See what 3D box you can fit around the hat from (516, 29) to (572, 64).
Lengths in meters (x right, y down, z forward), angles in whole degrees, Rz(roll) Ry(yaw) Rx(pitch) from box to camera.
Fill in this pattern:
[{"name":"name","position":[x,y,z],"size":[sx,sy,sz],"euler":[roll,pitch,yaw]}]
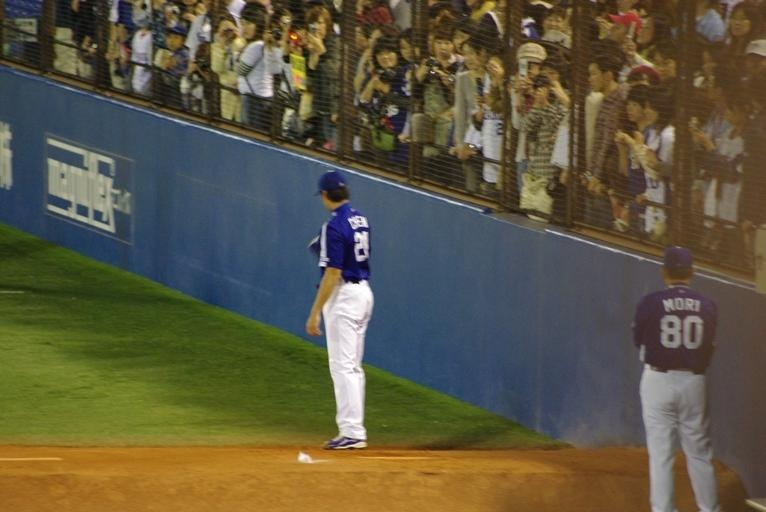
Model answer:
[{"name":"hat","position":[1.666,-2.127,20.243],"size":[0.468,0.186,0.318],"euler":[3,9,11]}]

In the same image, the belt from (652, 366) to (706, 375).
[{"name":"belt","position":[2.768,1.059,18.631],"size":[0.507,0.075,0.069],"euler":[5,0,8]}]

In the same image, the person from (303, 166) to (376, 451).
[{"name":"person","position":[-0.375,0.554,19.791],"size":[0.803,2.774,0.420],"euler":[9,0,-22]}]

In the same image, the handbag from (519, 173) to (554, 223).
[{"name":"handbag","position":[1.604,-0.627,20.648],"size":[0.510,0.425,0.140],"euler":[14,18,41]}]

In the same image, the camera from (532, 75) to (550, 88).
[{"name":"camera","position":[1.620,-1.782,20.304],"size":[0.160,0.112,0.035],"euler":[10,10,20]}]

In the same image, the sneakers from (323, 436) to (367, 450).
[{"name":"sneakers","position":[-0.362,1.848,19.865],"size":[0.450,0.162,0.140],"euler":[2,-1,0]}]

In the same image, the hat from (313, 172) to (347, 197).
[{"name":"hat","position":[-0.532,-0.731,19.866],"size":[0.231,0.135,0.276],"euler":[-9,10,-29]}]

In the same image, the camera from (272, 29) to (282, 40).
[{"name":"camera","position":[-1.179,-2.491,22.320],"size":[0.034,0.122,0.093],"euler":[-8,-28,-41]}]

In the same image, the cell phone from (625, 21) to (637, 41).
[{"name":"cell phone","position":[2.484,-2.233,19.630],"size":[0.027,0.171,0.130],"euler":[9,0,-44]}]
